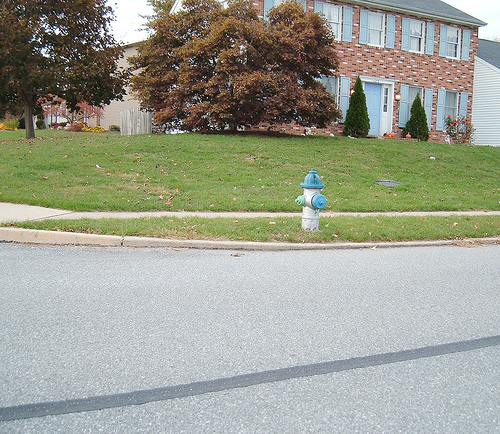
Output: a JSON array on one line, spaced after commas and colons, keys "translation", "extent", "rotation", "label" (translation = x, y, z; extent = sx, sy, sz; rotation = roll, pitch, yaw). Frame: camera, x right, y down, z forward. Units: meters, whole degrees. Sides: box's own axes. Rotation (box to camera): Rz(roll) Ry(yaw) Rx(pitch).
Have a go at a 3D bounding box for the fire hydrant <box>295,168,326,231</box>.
[{"translation": [1.066, -0.286, 12.092], "extent": [0.548, 1.007, 0.394], "rotation": [2, 3, 12], "label": "fire hydrant"}]
